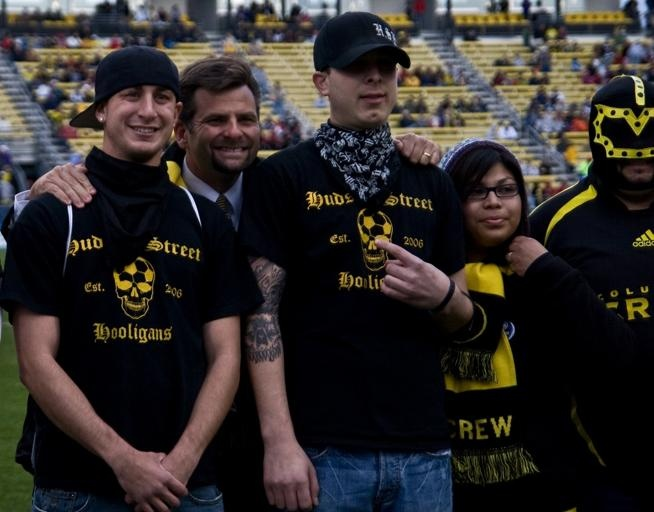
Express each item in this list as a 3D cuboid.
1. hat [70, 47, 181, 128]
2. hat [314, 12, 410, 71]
[{"bbox_3d":[-0.979,-0.789,5.775,0.530,0.367,0.371,-5,-8,25],"label":"hat"},{"bbox_3d":[0.162,-1.038,5.694,0.302,0.221,0.403,-9,4,-30],"label":"hat"}]
